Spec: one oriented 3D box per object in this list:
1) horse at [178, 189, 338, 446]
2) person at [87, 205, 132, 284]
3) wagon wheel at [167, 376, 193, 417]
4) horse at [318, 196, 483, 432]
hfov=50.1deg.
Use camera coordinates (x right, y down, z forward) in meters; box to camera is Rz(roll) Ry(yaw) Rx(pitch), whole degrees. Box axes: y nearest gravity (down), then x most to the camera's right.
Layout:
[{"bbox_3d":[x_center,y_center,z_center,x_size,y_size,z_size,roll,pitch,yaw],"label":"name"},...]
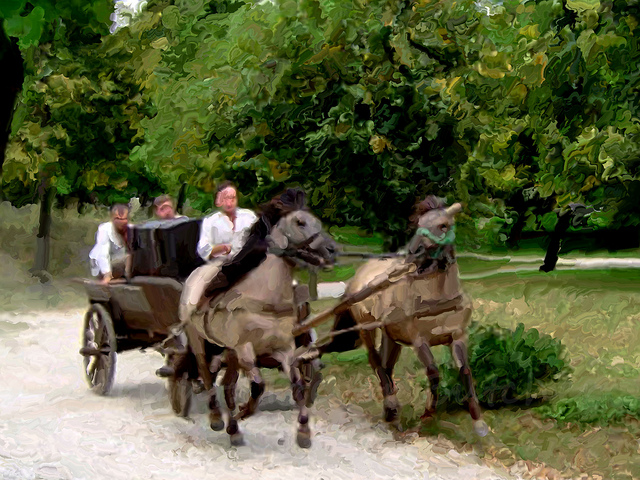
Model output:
[{"bbox_3d":[-0.805,0.878,7.839,1.107,2.784,3.441,1,-3,-30],"label":"horse"},{"bbox_3d":[-2.798,0.032,9.069,0.451,0.935,0.685,0,10,7],"label":"person"},{"bbox_3d":[-1.708,1.881,8.355,0.332,0.512,0.177,-4,5,-35],"label":"wagon wheel"},{"bbox_3d":[1.070,0.608,7.936,1.518,2.755,2.023,2,7,-7],"label":"horse"}]
